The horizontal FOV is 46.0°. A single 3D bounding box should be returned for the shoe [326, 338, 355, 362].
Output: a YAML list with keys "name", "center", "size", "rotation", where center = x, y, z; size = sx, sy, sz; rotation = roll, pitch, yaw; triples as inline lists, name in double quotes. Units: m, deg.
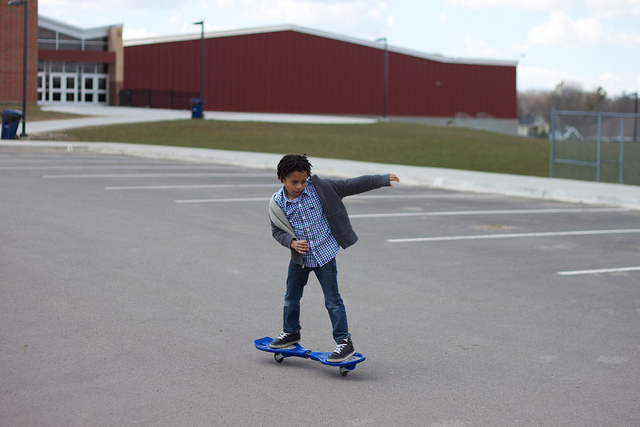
- name: "shoe"
  center: [0.255, 1.409, 7.761]
  size: [0.129, 0.195, 0.362]
  rotation: [-4, -4, 45]

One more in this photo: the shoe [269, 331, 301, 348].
- name: "shoe"
  center: [-0.364, 1.348, 7.985]
  size: [0.344, 0.154, 0.128]
  rotation: [1, -2, -11]

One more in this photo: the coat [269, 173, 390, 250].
- name: "coat"
  center: [0.064, -0.038, 7.911]
  size: [1.353, 0.935, 0.596]
  rotation: [-17, 20, -3]

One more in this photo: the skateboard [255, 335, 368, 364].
- name: "skateboard"
  center: [-0.113, 1.440, 7.931]
  size: [1.150, 0.198, 0.401]
  rotation: [8, 14, 31]
